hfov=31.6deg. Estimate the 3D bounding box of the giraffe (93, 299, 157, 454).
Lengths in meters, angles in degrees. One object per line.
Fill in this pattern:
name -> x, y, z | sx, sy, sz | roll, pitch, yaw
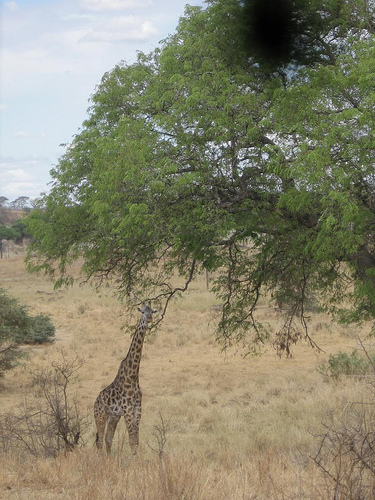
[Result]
giraffe -> -1.141, 2.438, 12.135 | 1.074, 2.455, 0.479 | -6, -16, 43
